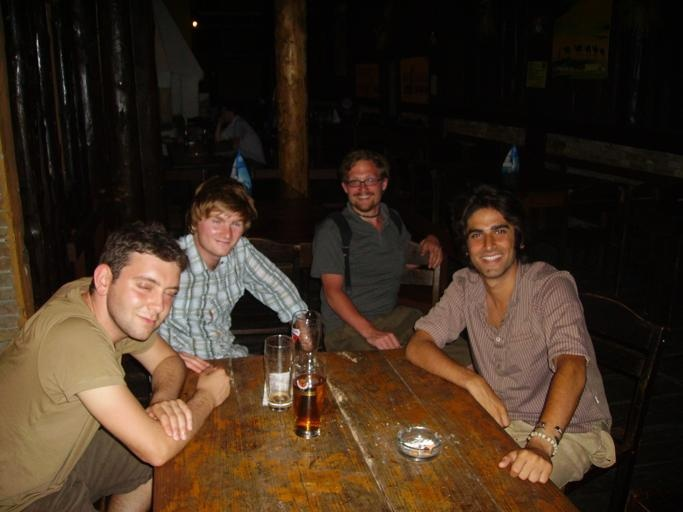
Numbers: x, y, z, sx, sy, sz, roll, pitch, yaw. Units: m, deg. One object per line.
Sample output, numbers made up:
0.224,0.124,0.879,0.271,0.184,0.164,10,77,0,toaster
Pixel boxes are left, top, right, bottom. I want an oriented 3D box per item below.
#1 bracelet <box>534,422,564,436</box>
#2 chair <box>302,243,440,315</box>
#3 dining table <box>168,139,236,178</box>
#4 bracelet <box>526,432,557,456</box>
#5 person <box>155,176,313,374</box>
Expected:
0.816,0.682,1.957,0.080,0.031,0.070,4,-13,45,bracelet
0.363,0.136,3.691,0.705,0.541,0.498,3,8,1,chair
-1.686,-1.159,5.995,0.816,0.458,2.011,-4,12,-11,dining table
0.794,0.718,1.947,0.106,0.043,0.089,38,1,4,bracelet
-0.614,0.192,2.869,0.972,1.146,0.731,-2,23,-28,person
